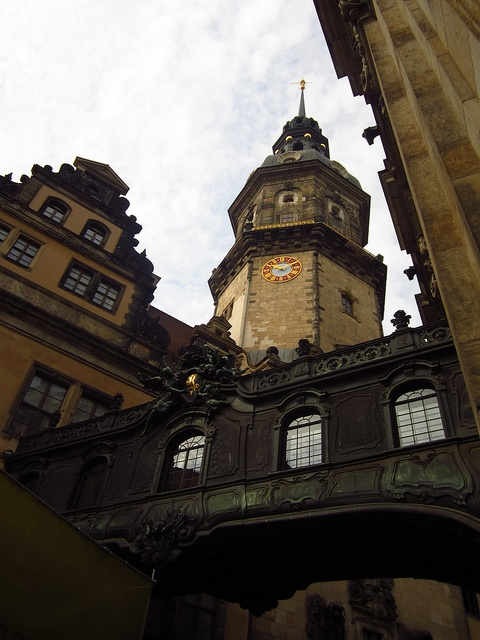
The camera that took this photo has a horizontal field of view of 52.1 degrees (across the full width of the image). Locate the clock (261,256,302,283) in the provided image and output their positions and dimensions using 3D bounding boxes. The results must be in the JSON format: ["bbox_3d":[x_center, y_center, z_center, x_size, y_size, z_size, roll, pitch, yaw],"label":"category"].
[{"bbox_3d":[2.640,-3.081,30.051,2.378,2.221,0.187,-3,-44,13],"label":"clock"}]
